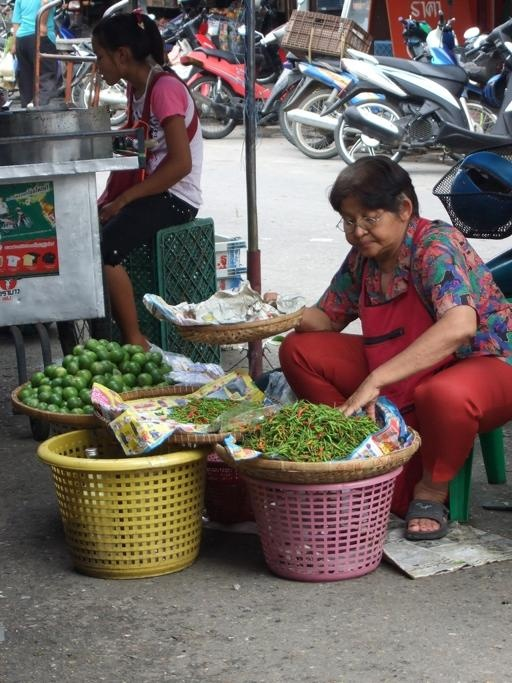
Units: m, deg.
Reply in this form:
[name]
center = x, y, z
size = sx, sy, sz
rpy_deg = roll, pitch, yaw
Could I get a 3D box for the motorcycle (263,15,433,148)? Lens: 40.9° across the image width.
[motorcycle]
center = 1.007, -3.695, 10.221
size = 2.354, 1.760, 1.818
rpy_deg = -19, 23, -36

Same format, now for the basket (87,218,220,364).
[basket]
center = -0.481, -0.260, 3.920
size = 0.733, 0.828, 0.977
rpy_deg = -6, 8, -31

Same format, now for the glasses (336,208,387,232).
[glasses]
center = 0.280, -0.337, 1.961
size = 0.084, 0.050, 0.172
rpy_deg = -3, 4, -24

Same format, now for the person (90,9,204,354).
[person]
center = -0.507, -0.722, 3.436
size = 0.634, 1.566, 0.621
rpy_deg = -10, 27, -35
